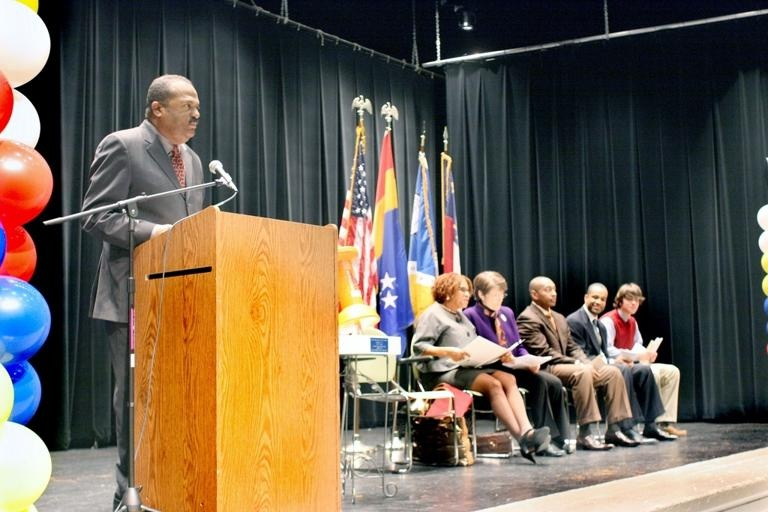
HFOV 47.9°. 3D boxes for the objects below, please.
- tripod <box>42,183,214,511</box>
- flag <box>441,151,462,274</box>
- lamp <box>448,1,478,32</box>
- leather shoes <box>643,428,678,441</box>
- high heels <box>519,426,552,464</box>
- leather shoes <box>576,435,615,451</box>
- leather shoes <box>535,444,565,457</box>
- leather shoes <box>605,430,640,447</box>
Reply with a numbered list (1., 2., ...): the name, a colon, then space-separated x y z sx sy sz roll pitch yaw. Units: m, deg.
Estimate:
1. tripod: -1.247 0.454 4.452 1.033 1.706 0.463 -3 -5 9
2. flag: 0.633 -0.428 8.364 0.151 1.188 0.292 -2 -5 4
3. lamp: 0.826 -2.472 8.978 0.167 0.307 0.288 1 -8 -12
4. leather shoes: 2.287 1.453 7.098 0.241 0.109 0.105 -2 -5 11
5. high heels: 1.071 1.303 6.054 0.096 0.153 0.354 7 -29 -15
6. leather shoes: 1.648 1.433 6.719 0.313 0.161 0.115 -3 -3 16
7. leather shoes: 1.260 1.451 6.458 0.256 0.124 0.150 -3 -7 7
8. leather shoes: 1.875 1.415 6.779 0.262 0.137 0.106 0 -1 18
